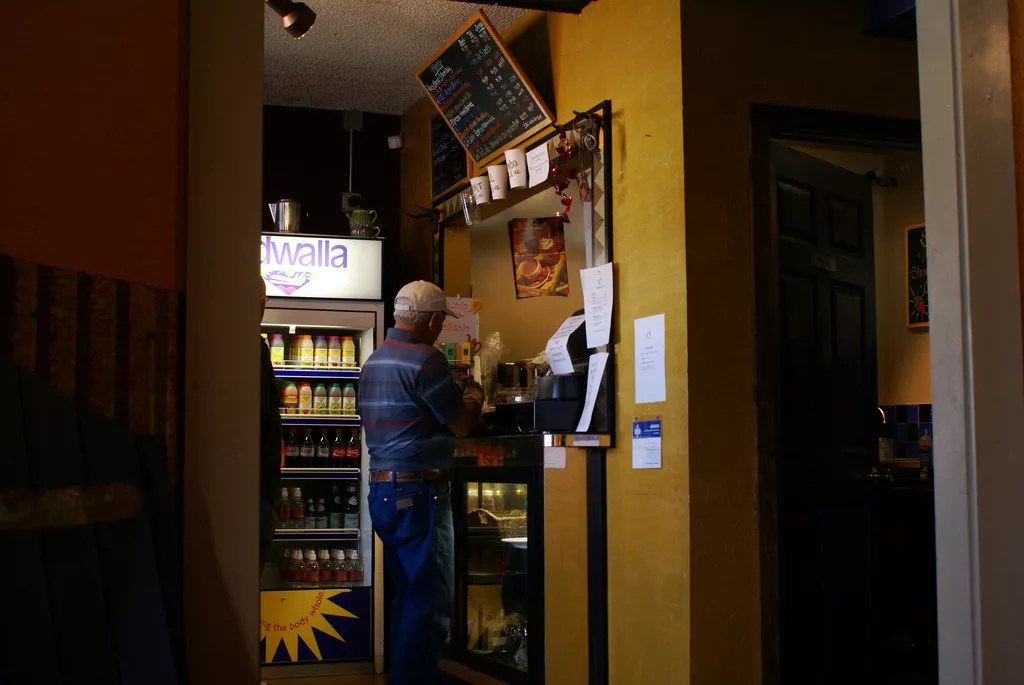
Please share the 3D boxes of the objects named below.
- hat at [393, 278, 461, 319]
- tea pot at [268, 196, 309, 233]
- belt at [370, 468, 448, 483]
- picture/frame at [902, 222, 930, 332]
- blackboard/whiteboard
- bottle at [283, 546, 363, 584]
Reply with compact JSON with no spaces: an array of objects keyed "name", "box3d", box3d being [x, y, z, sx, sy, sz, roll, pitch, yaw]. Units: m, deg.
[{"name":"hat","box3d":[-0.415,-0.206,4.310,0.220,0.138,0.152,-1,4,-39]},{"name":"tea pot","box3d":[-1.476,-0.829,5.924,0.253,0.232,0.164,5,-13,-29]},{"name":"belt","box3d":[-0.479,0.599,4.102,0.321,0.061,0.146,-1,-9,-9]},{"name":"picture/frame","box3d":[2.616,-0.437,5.862,0.115,0.688,0.316,-3,-9,8]},{"name":"blackboard/whiteboard","box3d":[-0.132,-1.398,4.948,0.074,0.735,0.593,-28,-14,-50]},{"name":"bottle","box3d":[-1.173,1.388,5.744,0.263,0.188,0.276,0,-4,0]}]
